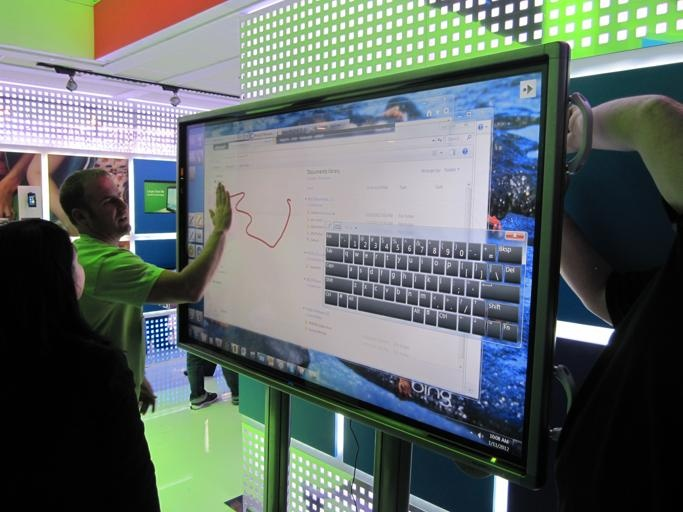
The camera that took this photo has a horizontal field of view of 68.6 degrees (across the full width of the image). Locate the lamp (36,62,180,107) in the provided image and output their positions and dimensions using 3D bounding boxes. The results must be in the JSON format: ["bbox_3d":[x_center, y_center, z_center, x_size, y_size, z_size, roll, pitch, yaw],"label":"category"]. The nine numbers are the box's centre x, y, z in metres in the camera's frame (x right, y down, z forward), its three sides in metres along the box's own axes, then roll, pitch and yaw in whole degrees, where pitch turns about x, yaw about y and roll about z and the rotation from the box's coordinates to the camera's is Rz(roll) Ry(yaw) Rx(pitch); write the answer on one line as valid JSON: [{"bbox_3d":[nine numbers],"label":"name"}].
[{"bbox_3d":[-1.973,-1.496,4.394,0.350,0.174,1.291,8,12,39],"label":"lamp"}]
